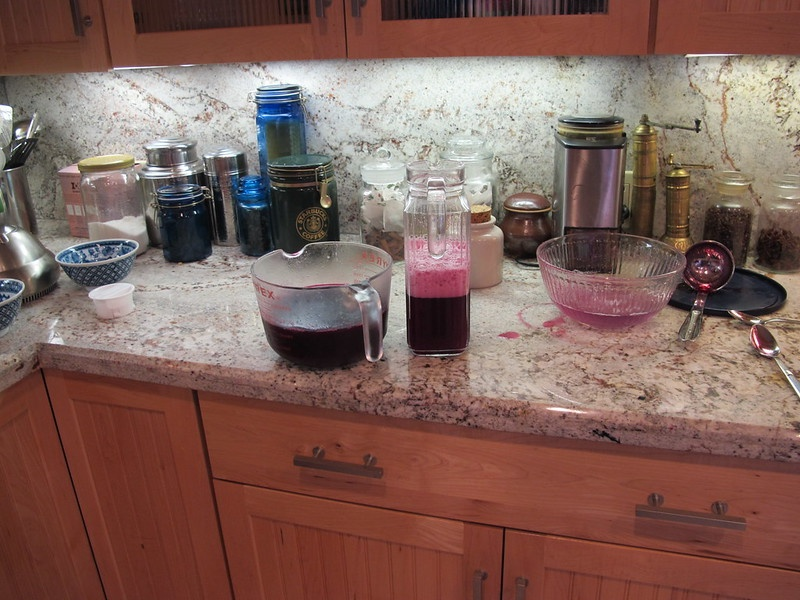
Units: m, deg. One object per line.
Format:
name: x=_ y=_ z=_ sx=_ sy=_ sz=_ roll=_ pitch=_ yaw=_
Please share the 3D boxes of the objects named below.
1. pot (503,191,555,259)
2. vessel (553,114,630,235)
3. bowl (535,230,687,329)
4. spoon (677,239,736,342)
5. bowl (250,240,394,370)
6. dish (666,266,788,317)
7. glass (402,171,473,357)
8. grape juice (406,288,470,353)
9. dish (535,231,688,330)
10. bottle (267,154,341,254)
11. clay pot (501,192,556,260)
pot: x=0.336 y=-0.212 z=1.755 sx=0.178 sy=0.150 sz=0.165 roll=-1 pitch=23 yaw=0
vessel: x=0.488 y=-0.316 z=1.619 sx=0.195 sy=0.298 sz=0.182 roll=4 pitch=23 yaw=16
bowl: x=0.478 y=-0.065 z=1.406 sx=0.311 sy=0.134 sz=0.270 roll=0 pitch=21 yaw=1
spoon: x=0.704 y=-0.052 z=1.443 sx=0.128 sy=0.045 sz=0.335 roll=15 pitch=47 yaw=23
bowl: x=-0.155 y=0.002 z=1.325 sx=0.286 sy=0.180 sz=0.319 roll=-17 pitch=32 yaw=-37
dish: x=0.747 y=-0.015 z=1.470 sx=0.256 sy=0.016 sz=0.250 roll=26 pitch=-23 yaw=-28
glass: x=0.077 y=-0.073 z=1.267 sx=0.127 sy=0.380 sz=0.137 roll=3 pitch=23 yaw=14
grape juice: x=0.078 y=0.043 z=1.324 sx=0.143 sy=0.105 sz=0.124 roll=0 pitch=15 yaw=1
dish: x=0.469 y=-0.049 z=1.406 sx=0.312 sy=0.136 sz=0.270 roll=0 pitch=23 yaw=1
bottle: x=-0.274 y=-0.261 z=1.783 sx=0.199 sy=0.244 sz=0.193 roll=1 pitch=26 yaw=-1
clay pot: x=0.356 y=-0.203 z=1.750 sx=0.157 sy=0.152 sz=0.145 roll=-3 pitch=18 yaw=1
